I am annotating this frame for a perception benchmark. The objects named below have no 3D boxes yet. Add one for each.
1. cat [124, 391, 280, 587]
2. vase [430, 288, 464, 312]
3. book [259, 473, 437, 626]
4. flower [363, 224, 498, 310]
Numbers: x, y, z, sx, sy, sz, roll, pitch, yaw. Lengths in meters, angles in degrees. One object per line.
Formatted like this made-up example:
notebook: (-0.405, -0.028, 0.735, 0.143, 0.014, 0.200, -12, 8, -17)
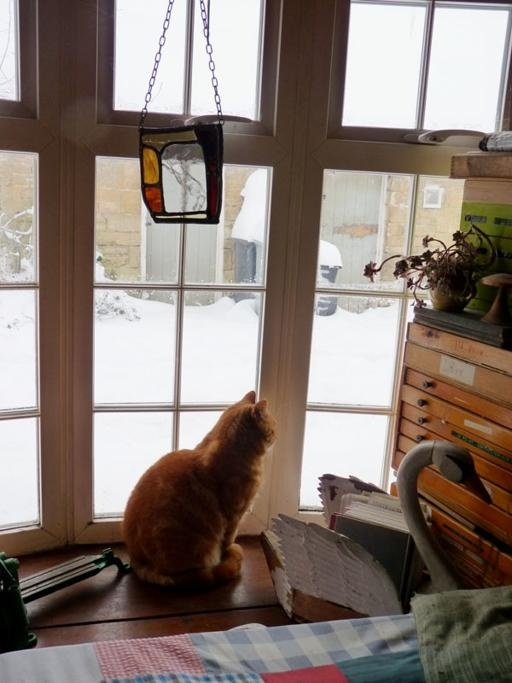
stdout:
cat: (-0.175, 0.366, 1.885, 0.527, 0.606, 0.367, -4, 11, -31)
vase: (0.455, -0.098, 1.476, 0.063, 0.043, 0.057, 18, 8, 3)
book: (0.217, 0.493, 1.466, 0.292, 0.129, 0.357, -3, 11, 0)
flower: (0.425, -0.192, 1.567, 0.195, 0.141, 0.281, -2, 7, -22)
